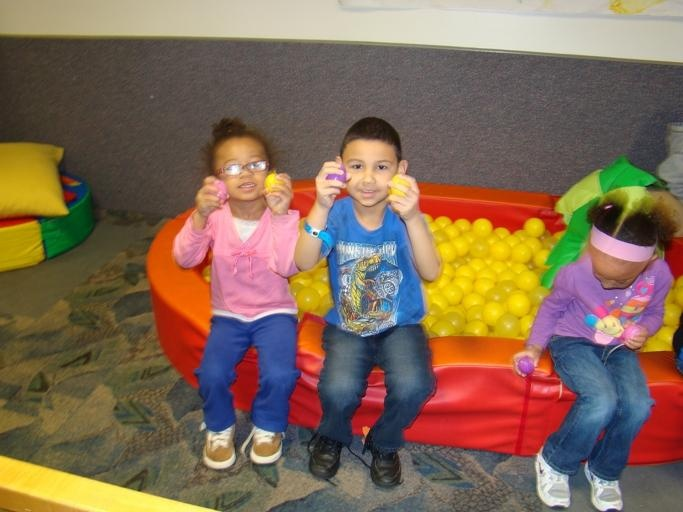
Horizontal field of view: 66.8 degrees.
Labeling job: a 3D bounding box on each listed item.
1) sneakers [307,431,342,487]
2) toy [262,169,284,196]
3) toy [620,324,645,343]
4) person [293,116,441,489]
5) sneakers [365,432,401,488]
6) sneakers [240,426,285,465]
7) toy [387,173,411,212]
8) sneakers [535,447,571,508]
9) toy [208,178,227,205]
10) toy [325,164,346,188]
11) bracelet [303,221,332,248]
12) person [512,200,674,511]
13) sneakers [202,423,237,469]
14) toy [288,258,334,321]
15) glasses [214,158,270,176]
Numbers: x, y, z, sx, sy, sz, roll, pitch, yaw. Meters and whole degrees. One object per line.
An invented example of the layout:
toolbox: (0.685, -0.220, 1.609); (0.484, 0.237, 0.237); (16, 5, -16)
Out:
sneakers: (-0.062, 0.823, 2.095); (0.089, 0.095, 0.241); (6, 5, -6)
toy: (-0.263, -0.286, 2.037); (0.083, 0.096, 0.080); (-1, 22, 3)
toy: (1.133, 0.299, 2.043); (0.066, 0.036, 0.065); (15, 59, 39)
person: (0.097, 0.195, 2.039); (0.557, 1.374, 0.602); (-19, 32, -42)
sneakers: (0.161, 0.825, 2.148); (0.096, 0.098, 0.247); (-1, 22, -9)
sneakers: (-0.329, 0.771, 2.161); (0.189, 0.147, 0.147); (1, 23, -8)
toy: (0.210, -0.233, 1.893); (0.043, 0.118, 0.090); (18, 7, 16)
sneakers: (0.817, 0.871, 2.068); (0.094, 0.108, 0.232); (2, 31, 0)
toy: (-0.491, -0.250, 2.070); (0.038, 0.079, 0.075); (-7, 51, -7)
toy: (-0.013, -0.296, 1.911); (0.079, 0.056, 0.056); (-8, 42, -17)
bracelet: (-0.089, -0.086, 2.022); (0.109, 0.069, 0.110); (16, -14, 32)
person: (0.983, 0.361, 2.053); (0.524, 1.142, 0.624); (13, 25, 20)
sneakers: (-0.503, 0.789, 2.130); (0.130, 0.148, 0.103); (-1, 23, -12)
toy: (-0.157, 0.190, 2.793); (0.251, 0.074, 0.239); (10, 26, 3)
glasses: (-0.399, -0.357, 2.105); (0.190, 0.067, 0.054); (-1, 23, -13)
